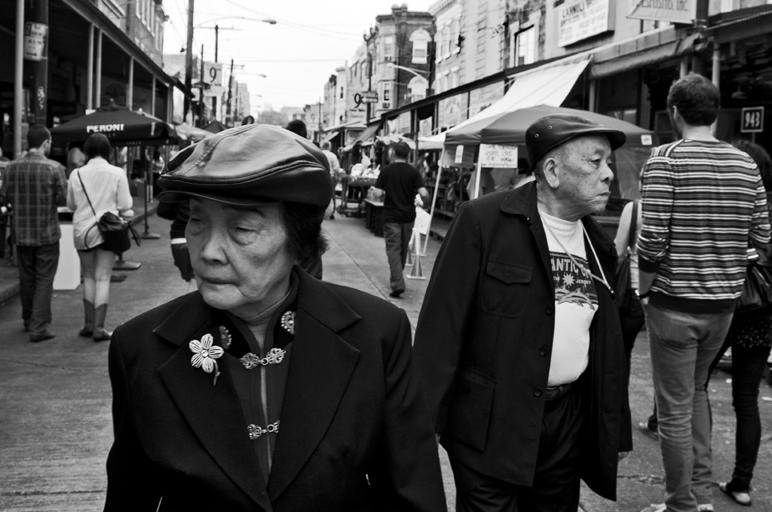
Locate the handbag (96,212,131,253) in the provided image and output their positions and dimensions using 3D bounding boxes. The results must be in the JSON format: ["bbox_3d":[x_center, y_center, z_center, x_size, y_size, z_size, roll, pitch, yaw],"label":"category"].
[{"bbox_3d":[-3.220,-0.280,8.653,0.200,0.384,0.322,-5,29,4],"label":"handbag"}]

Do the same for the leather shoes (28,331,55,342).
[{"bbox_3d":[-3.885,0.903,8.341,0.096,0.129,0.292,11,13,29],"label":"leather shoes"}]

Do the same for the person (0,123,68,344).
[{"bbox_3d":[-4.086,-0.291,8.574,0.686,2.420,0.978,-2,7,-26],"label":"person"}]

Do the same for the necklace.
[{"bbox_3d":[0.963,-0.030,3.851,0.269,0.533,0.104,-22,-5,-41],"label":"necklace"}]

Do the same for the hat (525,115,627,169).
[{"bbox_3d":[0.999,-0.599,3.884,0.404,0.212,0.311,-20,7,10],"label":"hat"}]

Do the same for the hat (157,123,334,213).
[{"bbox_3d":[-0.457,-0.308,2.545,0.406,0.182,0.343,7,2,-31],"label":"hat"}]
